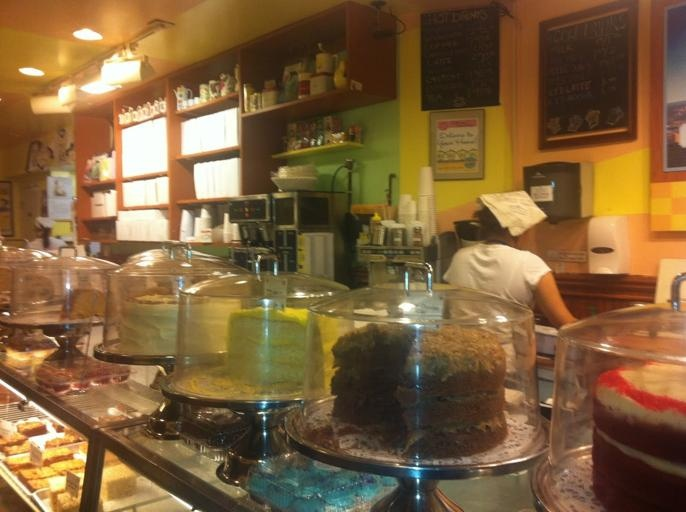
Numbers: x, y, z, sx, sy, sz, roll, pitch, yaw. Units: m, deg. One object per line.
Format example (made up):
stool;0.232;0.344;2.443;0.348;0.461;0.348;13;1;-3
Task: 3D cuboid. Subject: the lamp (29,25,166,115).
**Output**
lamp;-2.346;-1.784;5.148;1.471;0.344;0.257;-4;24;48

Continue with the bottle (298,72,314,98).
bottle;-0.300;-1.343;4.264;0.113;0.222;0.268;-3;9;-4

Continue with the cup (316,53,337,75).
cup;-0.132;-1.471;4.163;0.151;0.155;0.144;-3;9;0

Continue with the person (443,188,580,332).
person;0.984;0.143;3.283;0.832;1.041;0.617;8;7;33

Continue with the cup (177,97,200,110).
cup;-1.575;-1.545;5.456;0.163;0.077;0.215;-1;3;-7

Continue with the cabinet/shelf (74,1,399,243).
cabinet/shelf;-1.075;-1.008;5.202;3.757;1.923;0.599;5;12;39

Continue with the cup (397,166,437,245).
cup;0.499;-0.337;3.656;0.257;0.510;0.278;-3;9;0
